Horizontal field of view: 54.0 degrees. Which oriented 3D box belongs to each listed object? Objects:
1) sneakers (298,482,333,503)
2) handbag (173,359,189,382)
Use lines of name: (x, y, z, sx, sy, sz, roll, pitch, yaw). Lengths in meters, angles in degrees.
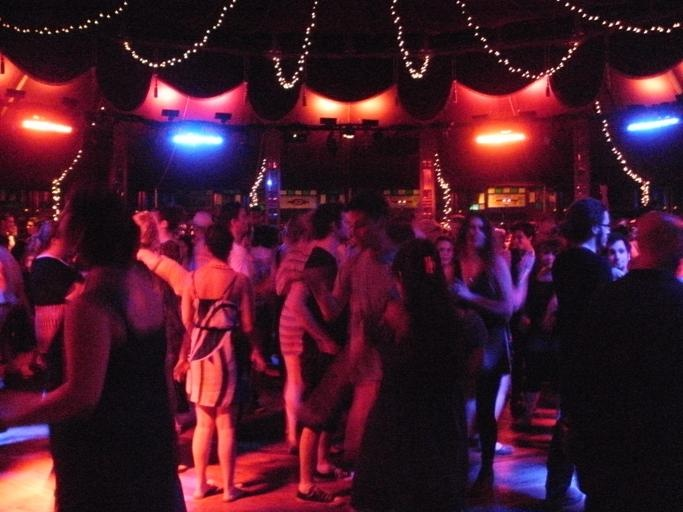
sneakers: (-0.195, 1.818, 5.144, 0.314, 0.133, 0.105, 0, -1, -1)
handbag: (-1.205, 0.864, 5.040, 0.122, 0.156, 0.061, -4, -11, 27)
